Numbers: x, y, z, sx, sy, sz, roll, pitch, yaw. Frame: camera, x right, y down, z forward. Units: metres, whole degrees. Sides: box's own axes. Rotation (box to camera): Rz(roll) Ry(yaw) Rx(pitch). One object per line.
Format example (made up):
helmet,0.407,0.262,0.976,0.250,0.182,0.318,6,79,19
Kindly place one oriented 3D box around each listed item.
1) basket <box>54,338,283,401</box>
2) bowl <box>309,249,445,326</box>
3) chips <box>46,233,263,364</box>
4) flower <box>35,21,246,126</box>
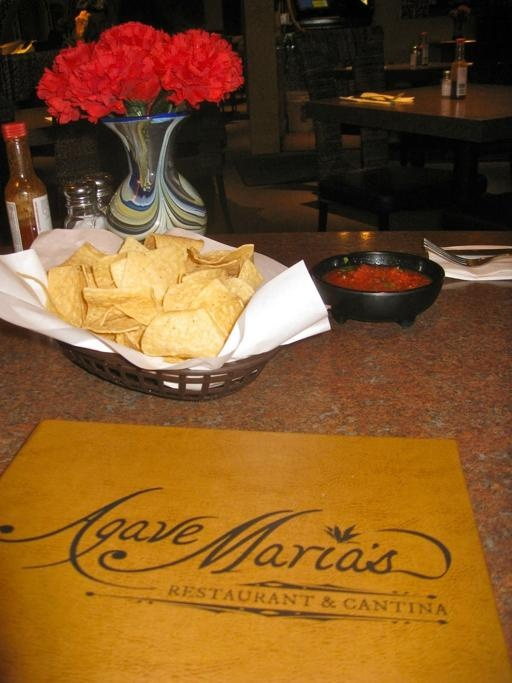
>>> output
basket,-0.093,0.009,0.733,0.258,0.054,0.286,3,16,2
bowl,0.170,-0.072,0.834,0.156,0.072,0.183,-11,20,-34
chips,-0.098,-0.063,0.703,0.206,0.062,0.199,12,31,7
flower,-0.189,-0.458,1.030,0.280,0.123,0.240,17,43,25
